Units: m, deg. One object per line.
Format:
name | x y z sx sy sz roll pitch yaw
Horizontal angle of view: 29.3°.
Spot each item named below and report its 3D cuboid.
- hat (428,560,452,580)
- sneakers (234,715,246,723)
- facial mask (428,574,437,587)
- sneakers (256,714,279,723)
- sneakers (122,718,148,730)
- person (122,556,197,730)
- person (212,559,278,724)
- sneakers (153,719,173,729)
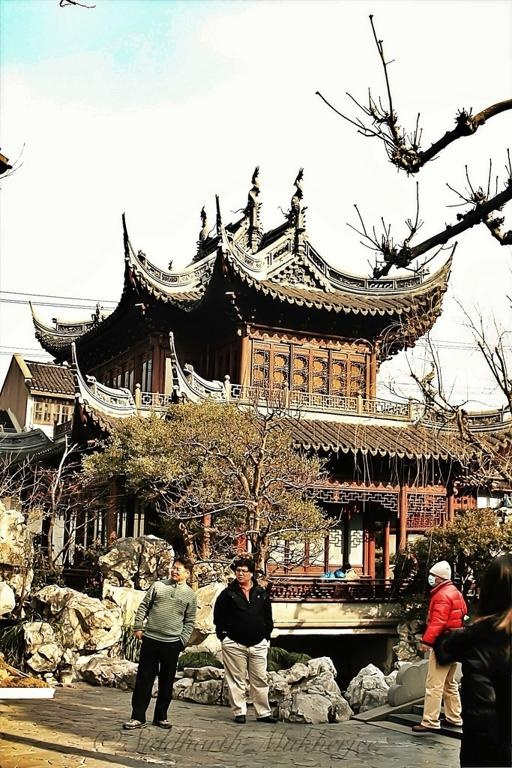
hat | 1.474 1.489 7.816 0.172 0.121 0.132 34 -9 -22
sneakers | -0.127 2.803 8.150 0.044 0.083 0.120 5 -4 -23
facial mask | 1.431 1.593 7.904 0.058 0.073 0.082 -6 17 2
sneakers | 0.102 2.853 8.319 0.186 0.081 0.064 0 -3 5
sneakers | -0.920 2.589 7.427 0.174 0.080 0.065 5 -16 -7
person | -0.758 2.049 7.771 0.421 1.318 0.564 1 -12 16
person | -0.076 2.166 8.273 0.386 1.364 0.566 -7 -16 44
sneakers | -0.728 2.663 7.648 0.149 0.060 0.054 -3 -11 18
